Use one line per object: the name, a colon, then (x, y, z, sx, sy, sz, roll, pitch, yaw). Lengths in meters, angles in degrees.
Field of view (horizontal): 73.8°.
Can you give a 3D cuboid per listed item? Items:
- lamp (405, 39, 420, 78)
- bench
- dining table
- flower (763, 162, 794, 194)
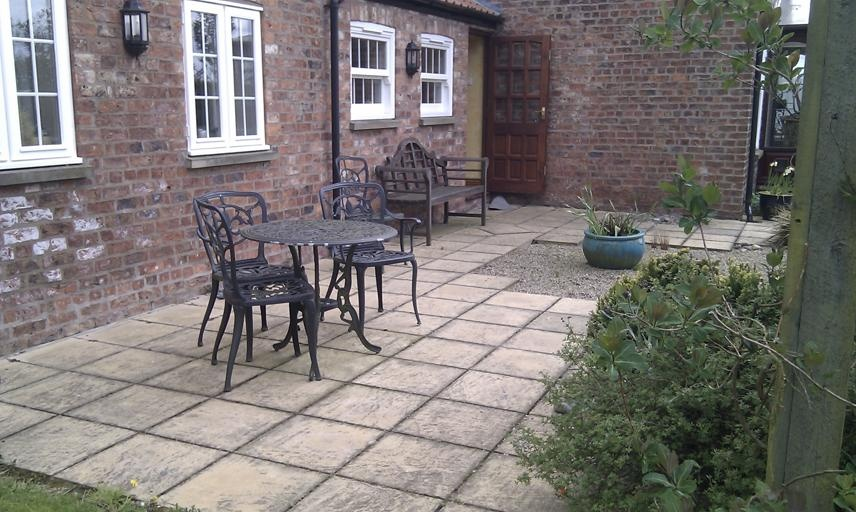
lamp: (-0.247, -3.042, 8.845, 0.252, 0.488, 0.236, 14, 25, 31)
bench: (0.025, -0.993, 8.796, 0.755, 1.183, 2.032, 3, 10, 24)
dining table: (-0.874, 0.267, 4.662, 1.306, 0.887, 1.285, -7, -8, 34)
flower: (6.014, -1.351, 9.776, 0.420, 0.546, 1.152, 6, 18, 29)
